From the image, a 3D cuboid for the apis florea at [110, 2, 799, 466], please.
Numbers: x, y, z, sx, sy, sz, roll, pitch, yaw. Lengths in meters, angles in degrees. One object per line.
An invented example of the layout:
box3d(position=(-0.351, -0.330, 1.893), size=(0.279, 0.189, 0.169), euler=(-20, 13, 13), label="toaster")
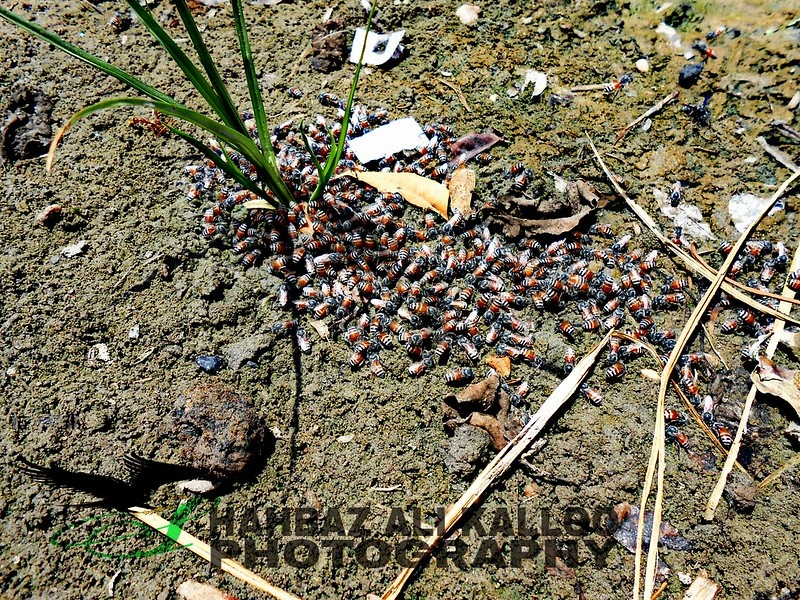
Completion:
box3d(position=(1.226, -0.598, 9.089), size=(6.161, 0.535, 5.782), euler=(-6, 66, 0), label="apis florea")
